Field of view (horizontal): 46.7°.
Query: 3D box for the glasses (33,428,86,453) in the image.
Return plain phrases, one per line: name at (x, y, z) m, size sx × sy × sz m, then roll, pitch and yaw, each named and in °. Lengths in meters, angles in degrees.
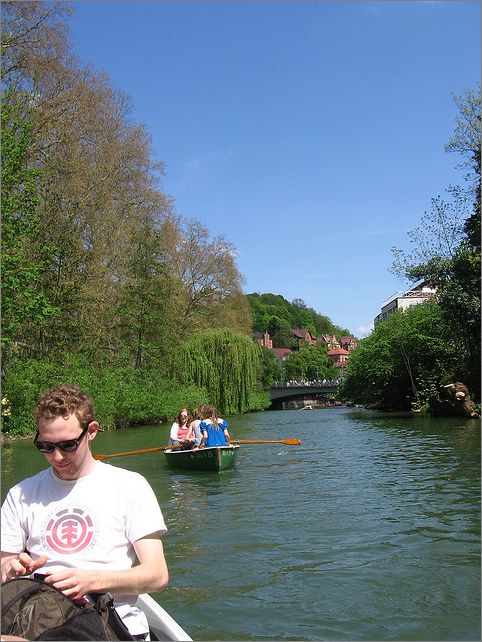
glasses at (-0.709, 0.463, 2.157) m, size 0.208 × 0.105 × 0.149 m, roll 3°, pitch -2°, yaw -3°
